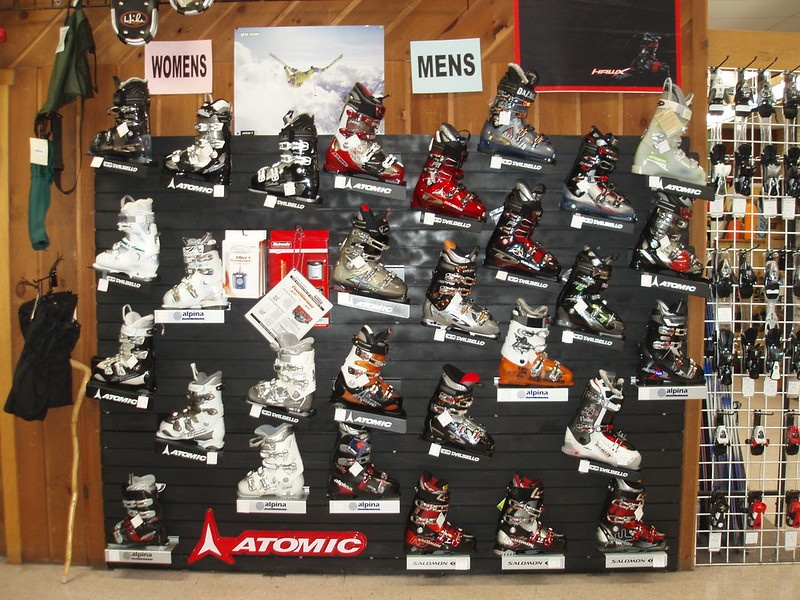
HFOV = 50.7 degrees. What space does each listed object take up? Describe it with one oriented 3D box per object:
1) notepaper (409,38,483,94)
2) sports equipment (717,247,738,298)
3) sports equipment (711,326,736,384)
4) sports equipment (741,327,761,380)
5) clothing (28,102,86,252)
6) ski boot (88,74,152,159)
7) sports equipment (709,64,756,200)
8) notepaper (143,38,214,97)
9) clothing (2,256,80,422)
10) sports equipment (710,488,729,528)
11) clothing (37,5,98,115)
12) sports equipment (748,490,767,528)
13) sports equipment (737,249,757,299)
[{"bbox_3d":[0.298,-1.494,5.401,0.472,0.339,0.012,-8,20,-19],"label":"notepaper"},{"bbox_3d":[2.201,-0.171,5.729,0.123,0.309,0.199,0,1,21],"label":"sports equipment"},{"bbox_3d":[2.148,0.366,5.706,0.112,0.393,0.188,2,7,2],"label":"sports equipment"},{"bbox_3d":[2.394,0.339,5.745,0.112,0.381,0.147,-1,-12,6],"label":"sports equipment"},{"bbox_3d":[-2.240,-0.792,5.471,0.290,0.893,0.194,5,3,-43],"label":"clothing"},{"bbox_3d":[-1.747,-1.123,5.290,0.364,0.533,0.177,-1,1,-20],"label":"ski boot"},{"bbox_3d":[2.251,-1.162,5.774,0.289,0.931,0.748,0,2,22],"label":"sports equipment"},{"bbox_3d":[-1.411,-1.496,5.437,0.412,0.318,0.010,0,-7,3],"label":"notepaper"},{"bbox_3d":[-2.294,0.242,5.424,0.444,1.023,0.176,-1,1,-26],"label":"clothing"},{"bbox_3d":[2.117,1.380,5.637,0.139,0.230,0.074,1,0,-15],"label":"sports equipment"},{"bbox_3d":[-2.126,-1.518,5.398,0.344,0.700,0.197,-1,1,-12],"label":"clothing"},{"bbox_3d":[2.386,1.405,5.681,0.102,0.251,0.163,0,1,21],"label":"sports equipment"},{"bbox_3d":[2.347,-0.171,5.726,0.103,0.320,0.217,0,2,39],"label":"sports equipment"}]
